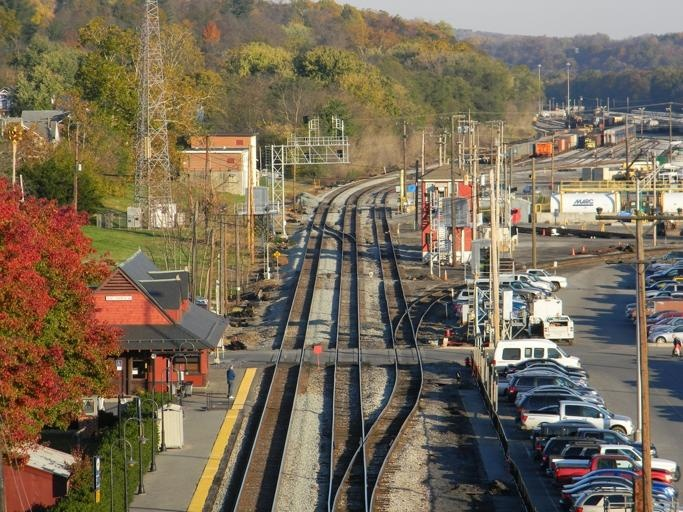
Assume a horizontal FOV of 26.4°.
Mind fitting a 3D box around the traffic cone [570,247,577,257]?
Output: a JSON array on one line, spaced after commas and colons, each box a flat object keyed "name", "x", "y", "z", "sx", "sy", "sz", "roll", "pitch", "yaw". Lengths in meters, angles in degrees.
[{"name": "traffic cone", "x": 21.513, "y": -0.423, "z": 135.028, "sx": 0.601, "sy": 0.976, "sz": 0.684, "roll": 5, "pitch": 17, "yaw": 24}]

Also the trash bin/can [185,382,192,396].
[{"name": "trash bin/can", "x": -10.588, "y": 9.164, "z": 100.231, "sx": 0.621, "sy": 1.107, "sz": 0.657, "roll": 2, "pitch": -1, "yaw": 0}]
